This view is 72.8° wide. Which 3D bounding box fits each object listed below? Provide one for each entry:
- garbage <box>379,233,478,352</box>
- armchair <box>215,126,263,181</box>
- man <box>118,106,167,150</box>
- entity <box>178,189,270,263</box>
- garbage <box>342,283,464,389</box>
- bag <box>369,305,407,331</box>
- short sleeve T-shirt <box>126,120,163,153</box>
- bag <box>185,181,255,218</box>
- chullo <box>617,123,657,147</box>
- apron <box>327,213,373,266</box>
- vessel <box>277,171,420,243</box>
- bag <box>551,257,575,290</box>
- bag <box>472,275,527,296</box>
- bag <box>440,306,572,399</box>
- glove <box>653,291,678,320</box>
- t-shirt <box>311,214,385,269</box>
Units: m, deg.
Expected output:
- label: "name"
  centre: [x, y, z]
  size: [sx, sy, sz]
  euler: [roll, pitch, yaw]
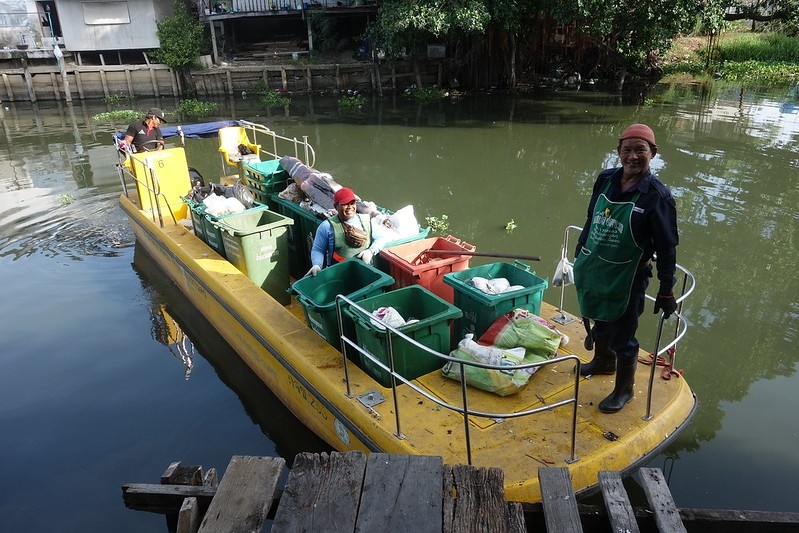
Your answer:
- label: "garbage"
  centre: [0.502, 0.229, 8.047]
  size: [1.355, 1.903, 1.215]
  euler: [-18, 29, -31]
- label: "armchair"
  centre: [-3.571, -2.492, 12.091]
  size: [0.847, 1.111, 0.864]
  euler: [-13, 23, -28]
- label: "man"
  centre: [-5.469, -2.849, 11.683]
  size: [0.801, 1.208, 0.660]
  euler: [7, 11, -44]
- label: "entity"
  centre: [-3.112, -0.818, 9.725]
  size: [1.173, 0.936, 1.355]
  euler: [-21, 46, -32]
- label: "garbage"
  centre: [0.052, 1.092, 7.039]
  size: [1.328, 0.994, 1.222]
  euler: [-25, 36, -24]
- label: "bag"
  centre: [-0.144, 0.591, 6.527]
  size: [0.272, 0.136, 0.306]
  euler: [-17, 32, -26]
- label: "short sleeve T-shirt"
  centre: [-5.438, -2.762, 11.565]
  size: [0.756, 0.761, 0.416]
  euler: [-10, 17, -42]
- label: "bag"
  centre: [-3.189, -1.217, 9.712]
  size: [0.882, 0.359, 0.900]
  euler: [-22, 35, -36]
- label: "chullo"
  centre: [2.573, -1.406, 5.859]
  size: [0.295, 0.183, 0.405]
  euler: [10, 14, 21]
- label: "apron"
  centre: [-0.717, -0.363, 7.950]
  size: [0.533, 0.840, 0.643]
  euler: [0, 3, 35]
- label: "vessel"
  centre: [-0.922, -0.730, 8.952]
  size: [2.077, 0.695, 1.262]
  euler: [32, 45, 26]
- label: "bag"
  centre: [2.449, 0.134, 8.181]
  size: [0.269, 0.563, 0.459]
  euler: [-2, 20, 3]
- label: "bag"
  centre: [1.203, 0.258, 6.922]
  size: [0.407, 0.131, 0.311]
  euler: [-11, 26, -28]
- label: "bag"
  centre: [1.302, 1.033, 6.533]
  size: [0.829, 0.401, 1.290]
  euler: [15, 41, 40]
- label: "glove"
  centre: [2.799, 0.441, 5.730]
  size: [0.205, 0.301, 0.384]
  euler: [12, 24, 26]
- label: "t-shirt"
  centre: [-0.726, -0.323, 7.758]
  size: [0.343, 0.586, 0.558]
  euler: [-15, 37, -34]
